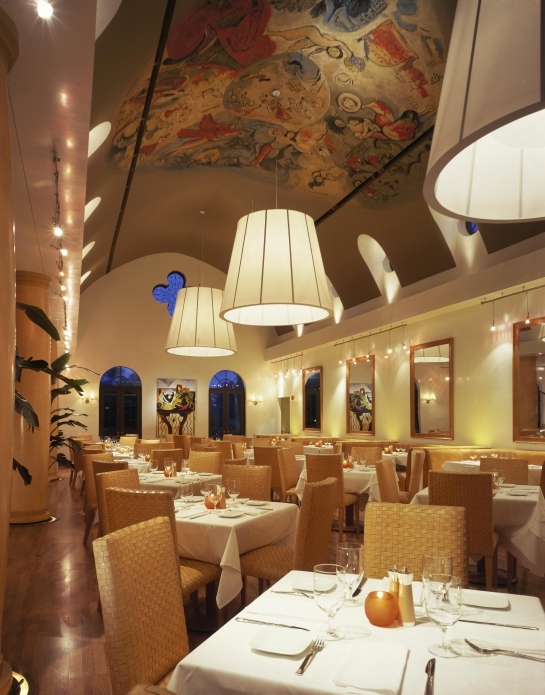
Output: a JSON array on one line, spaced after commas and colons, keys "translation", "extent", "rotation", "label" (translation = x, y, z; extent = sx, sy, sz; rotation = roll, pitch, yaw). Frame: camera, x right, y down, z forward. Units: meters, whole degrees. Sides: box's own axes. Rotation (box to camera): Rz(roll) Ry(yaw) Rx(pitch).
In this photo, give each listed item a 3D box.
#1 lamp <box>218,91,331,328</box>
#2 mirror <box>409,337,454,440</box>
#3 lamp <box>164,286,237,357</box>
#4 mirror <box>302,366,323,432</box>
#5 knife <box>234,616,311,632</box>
[{"translation": [0.046, -0.493, 2.882], "extent": [0.622, 0.718, 0.707], "rotation": [4, -9, -1], "label": "lamp"}, {"translation": [3.414, 0.928, 10.908], "extent": [0.194, 2.065, 1.471], "rotation": [6, -9, -15], "label": "mirror"}, {"translation": [-0.719, -0.153, 5.061], "extent": [0.697, 0.731, 0.723], "rotation": [1, -14, -6], "label": "lamp"}, {"translation": [1.283, 1.663, 16.240], "extent": [0.260, 1.982, 1.379], "rotation": [6, -9, -14], "label": "mirror"}, {"translation": [-0.001, 0.811, 1.471], "extent": [0.232, 0.011, 0.032], "rotation": [4, 9, 15], "label": "knife"}]
